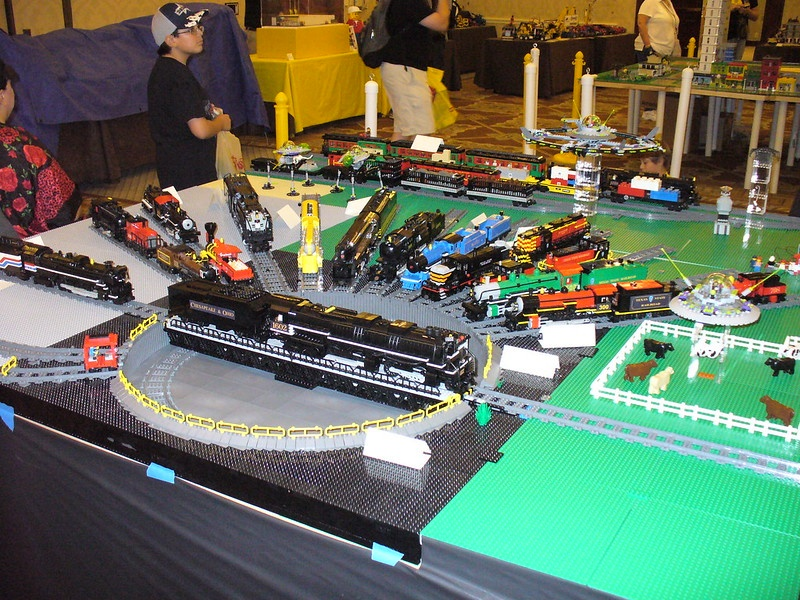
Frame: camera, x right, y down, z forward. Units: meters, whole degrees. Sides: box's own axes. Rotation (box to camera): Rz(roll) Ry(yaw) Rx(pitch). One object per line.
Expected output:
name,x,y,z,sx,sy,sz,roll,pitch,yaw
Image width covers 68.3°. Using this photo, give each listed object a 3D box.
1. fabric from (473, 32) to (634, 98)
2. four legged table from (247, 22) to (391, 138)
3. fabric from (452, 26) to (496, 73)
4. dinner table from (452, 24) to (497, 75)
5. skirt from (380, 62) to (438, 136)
fabric,6.807,-9.888,24.764,4.309,1.778,7.410,13,25,31
four legged table,-2.923,-7.151,18.615,2.480,2.513,5.161,19,31,17
fabric,2.968,-10.323,24.408,0.951,1.429,3.084,15,32,23
dinner table,2.979,-10.339,24.435,1.004,1.413,3.299,12,31,24
skirt,0.281,-3.625,10.031,0.815,1.290,1.006,5,-7,-26
